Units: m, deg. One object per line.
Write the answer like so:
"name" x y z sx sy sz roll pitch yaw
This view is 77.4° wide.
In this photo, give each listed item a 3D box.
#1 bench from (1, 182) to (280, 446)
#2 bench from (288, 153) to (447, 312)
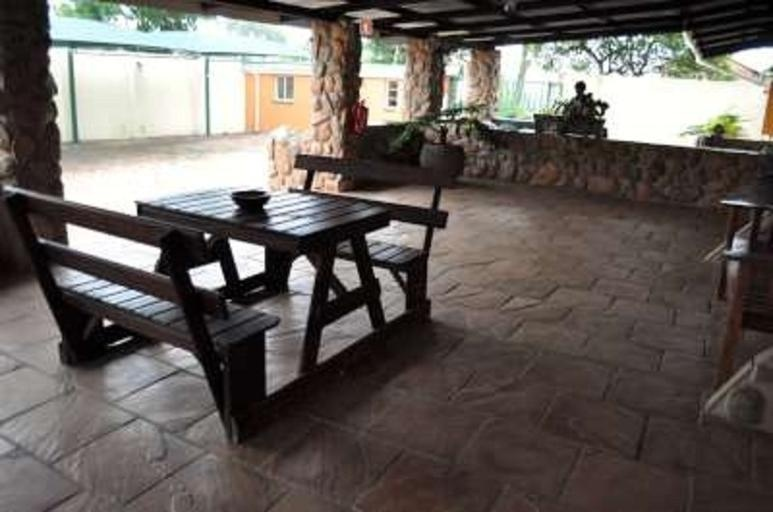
"bench" -1.338 0.260 2.689 1.583 1.124 0.368 10 24 22
"bench" -0.136 -0.184 3.957 1.693 1.203 0.711 13 25 33
